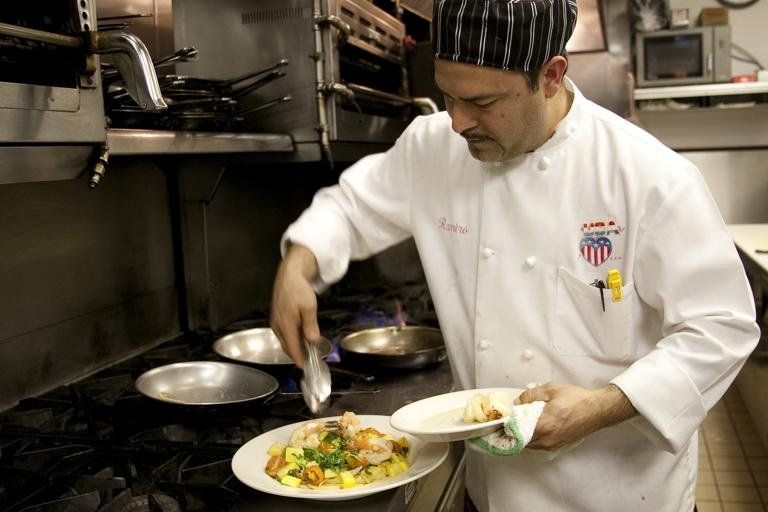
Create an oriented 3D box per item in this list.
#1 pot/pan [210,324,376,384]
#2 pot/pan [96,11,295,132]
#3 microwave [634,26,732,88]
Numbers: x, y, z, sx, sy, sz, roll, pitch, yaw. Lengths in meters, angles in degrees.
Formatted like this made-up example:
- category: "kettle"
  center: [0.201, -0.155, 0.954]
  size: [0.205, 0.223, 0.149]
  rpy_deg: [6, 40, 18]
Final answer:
- category: "pot/pan"
  center: [-0.375, 0.348, 2.182]
  size: [0.429, 0.062, 0.270]
  rpy_deg: [11, 5, 21]
- category: "pot/pan"
  center: [-0.616, -0.496, 1.856]
  size: [0.661, 0.246, 0.506]
  rpy_deg: [4, 9, 12]
- category: "microwave"
  center: [2.286, -1.515, 4.413]
  size: [0.662, 0.464, 0.445]
  rpy_deg: [-1, 6, 9]
